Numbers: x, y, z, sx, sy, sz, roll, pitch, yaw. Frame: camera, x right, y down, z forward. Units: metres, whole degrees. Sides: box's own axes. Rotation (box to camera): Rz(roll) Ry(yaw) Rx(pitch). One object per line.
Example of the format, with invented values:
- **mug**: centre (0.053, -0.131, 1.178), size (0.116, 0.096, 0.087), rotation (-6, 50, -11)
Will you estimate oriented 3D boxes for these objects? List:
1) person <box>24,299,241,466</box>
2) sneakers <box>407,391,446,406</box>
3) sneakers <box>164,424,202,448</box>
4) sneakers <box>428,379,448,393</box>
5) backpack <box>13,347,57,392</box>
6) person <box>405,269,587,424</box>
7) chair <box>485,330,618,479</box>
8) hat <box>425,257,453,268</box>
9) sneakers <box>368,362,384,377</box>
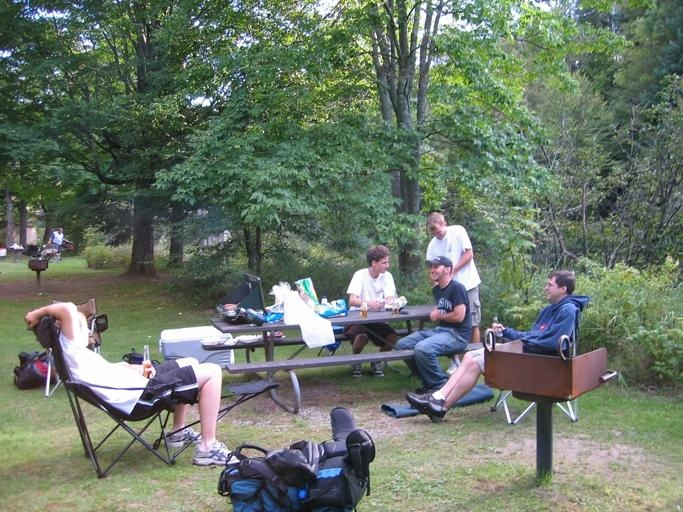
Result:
- **person**: centre (-2.187, 1.302, 6.576), size (1.966, 1.589, 1.027), rotation (-1, 2, -28)
- **sneakers**: centre (0.950, 1.620, 7.477), size (0.414, 0.183, 0.171), rotation (11, -27, 2)
- **sneakers**: centre (-1.632, 1.866, 6.869), size (0.401, 0.188, 0.188), rotation (-3, 4, -20)
- **sneakers**: centre (1.129, 1.530, 7.776), size (0.147, 0.064, 0.048), rotation (-41, 28, -7)
- **backpack**: centre (-4.066, 1.489, 8.678), size (0.503, 0.267, 0.647), rotation (4, 3, -19)
- **person**: centre (1.705, 0.952, 7.156), size (2.107, 1.591, 0.880), rotation (-2, -6, -5)
- **chair**: centre (1.939, 1.337, 6.289), size (1.114, 1.395, 0.685), rotation (3, 10, 22)
- **hat**: centre (1.245, 0.070, 8.258), size (0.241, 0.092, 0.156), rotation (2, -5, -7)
- **sneakers**: centre (0.511, 1.590, 9.306), size (0.114, 0.154, 0.340), rotation (2, -9, -20)
